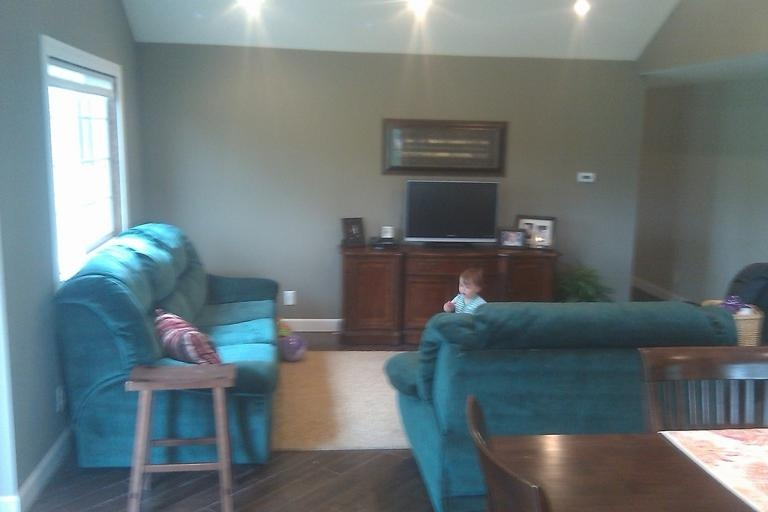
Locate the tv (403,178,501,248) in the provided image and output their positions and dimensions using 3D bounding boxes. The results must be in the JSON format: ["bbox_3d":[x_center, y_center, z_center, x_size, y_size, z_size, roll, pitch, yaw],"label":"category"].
[{"bbox_3d":[0.676,-0.437,6.308,0.914,0.611,0.040,0,7,-2],"label":"tv"}]

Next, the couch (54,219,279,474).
[{"bbox_3d":[-1.530,0.538,5.156,1.420,1.207,2.723,3,9,-10],"label":"couch"}]

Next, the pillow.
[{"bbox_3d":[-1.265,0.545,4.041,0.213,0.200,0.642,-11,27,-32],"label":"pillow"}]

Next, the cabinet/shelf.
[{"bbox_3d":[0.636,0.415,6.292,2.187,0.889,0.550,1,3,-6],"label":"cabinet/shelf"}]
